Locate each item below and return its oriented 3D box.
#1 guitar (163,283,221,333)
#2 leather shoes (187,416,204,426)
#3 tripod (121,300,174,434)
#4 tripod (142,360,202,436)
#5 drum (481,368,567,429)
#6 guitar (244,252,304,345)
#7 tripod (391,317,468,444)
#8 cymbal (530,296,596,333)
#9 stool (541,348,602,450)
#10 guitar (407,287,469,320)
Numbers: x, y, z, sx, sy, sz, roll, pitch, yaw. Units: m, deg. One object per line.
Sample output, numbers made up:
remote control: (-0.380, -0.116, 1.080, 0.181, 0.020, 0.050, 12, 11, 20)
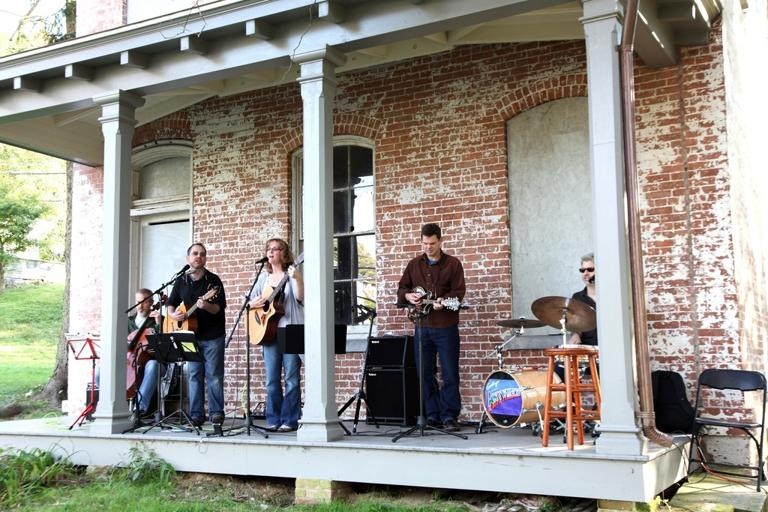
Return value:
guitar: (-2.434, 0.717, 9.836, 0.843, 0.409, 0.141, -36, -26, 31)
leather shoes: (-2.345, 2.068, 9.875, 0.075, 0.097, 0.221, -3, -17, 9)
tripod: (-3.366, 1.490, 10.803, 0.716, 1.733, 0.357, 15, 7, 36)
tripod: (-2.824, 1.874, 10.410, 0.836, 1.025, 0.749, -1, -23, 4)
drum: (1.564, 1.512, 9.195, 0.803, 0.793, 0.727, 4, 16, -36)
guitar: (-1.417, 0.645, 9.644, 0.516, 0.841, 0.294, -4, 10, -8)
tripod: (0.554, 1.576, 9.718, 1.031, 1.990, 1.034, -3, -27, 4)
cymbal: (1.986, 0.639, 8.633, 0.672, 0.485, 0.393, 0, 11, 14)
stool: (1.927, 1.379, 8.317, 0.404, 0.699, 0.421, -4, 10, 33)
guitar: (0.628, 0.580, 9.545, 0.835, 0.403, 0.507, 1, 11, 16)
